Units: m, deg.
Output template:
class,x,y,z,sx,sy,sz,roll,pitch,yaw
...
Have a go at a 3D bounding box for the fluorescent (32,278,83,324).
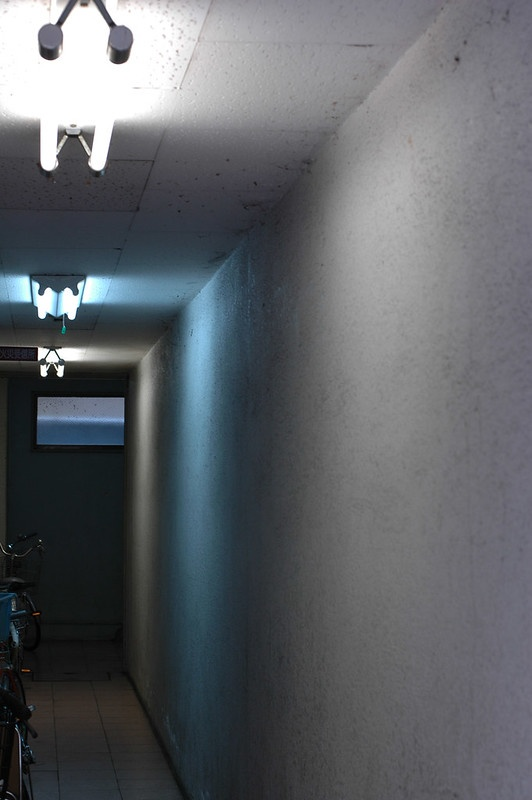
class,x,y,z,sx,sy,sz,roll,pitch,yaw
fluorescent,-1.191,-0.583,3.907,0.213,0.073,0.308,0,-15,-10
